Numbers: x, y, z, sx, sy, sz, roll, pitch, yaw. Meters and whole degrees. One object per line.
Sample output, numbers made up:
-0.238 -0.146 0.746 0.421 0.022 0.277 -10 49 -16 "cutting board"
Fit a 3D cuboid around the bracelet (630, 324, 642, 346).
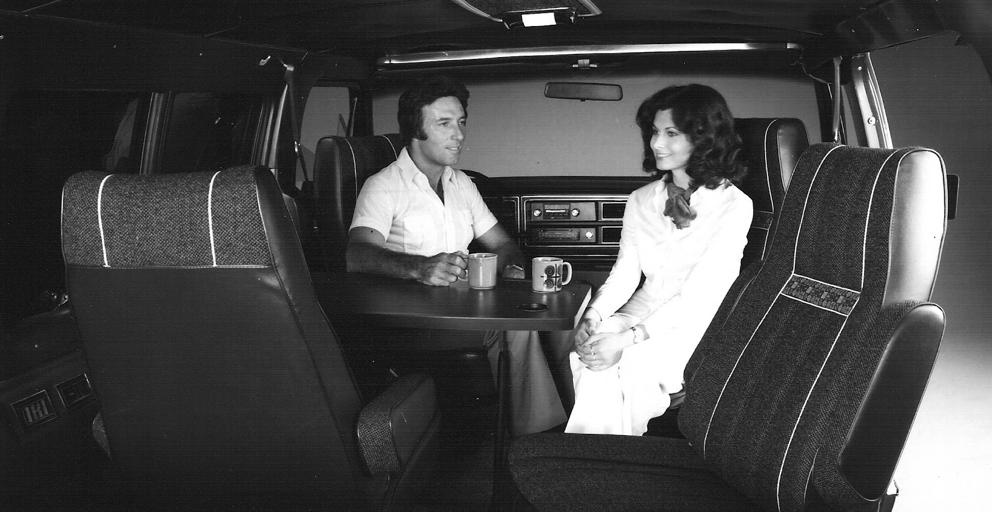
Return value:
0.615 0.345 3.052 0.061 0.065 0.022 3 -3 -7 "bracelet"
